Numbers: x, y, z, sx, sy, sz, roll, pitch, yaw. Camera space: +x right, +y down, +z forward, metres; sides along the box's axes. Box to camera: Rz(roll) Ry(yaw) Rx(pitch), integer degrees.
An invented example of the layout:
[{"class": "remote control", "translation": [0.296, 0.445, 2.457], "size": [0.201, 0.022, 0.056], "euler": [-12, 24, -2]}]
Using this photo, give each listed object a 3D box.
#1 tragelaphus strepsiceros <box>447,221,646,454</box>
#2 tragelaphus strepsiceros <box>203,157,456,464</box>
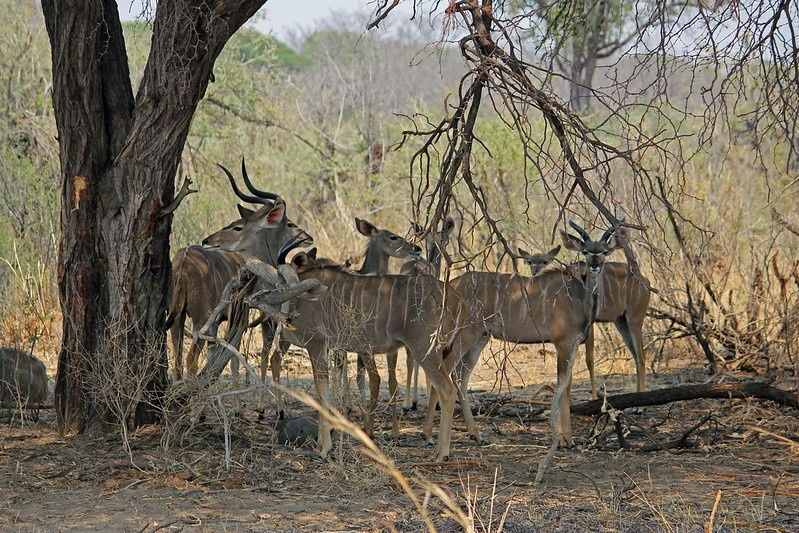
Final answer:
[{"class": "tragelaphus strepsiceros", "translation": [1.385, 0.624, 9.443], "size": [2.536, 2.058, 1.812], "euler": [5, -8, -40]}, {"class": "tragelaphus strepsiceros", "translation": [-0.303, 0.473, 8.724], "size": [1.665, 2.355, 0.594], "euler": [-1, -6, 4]}]
